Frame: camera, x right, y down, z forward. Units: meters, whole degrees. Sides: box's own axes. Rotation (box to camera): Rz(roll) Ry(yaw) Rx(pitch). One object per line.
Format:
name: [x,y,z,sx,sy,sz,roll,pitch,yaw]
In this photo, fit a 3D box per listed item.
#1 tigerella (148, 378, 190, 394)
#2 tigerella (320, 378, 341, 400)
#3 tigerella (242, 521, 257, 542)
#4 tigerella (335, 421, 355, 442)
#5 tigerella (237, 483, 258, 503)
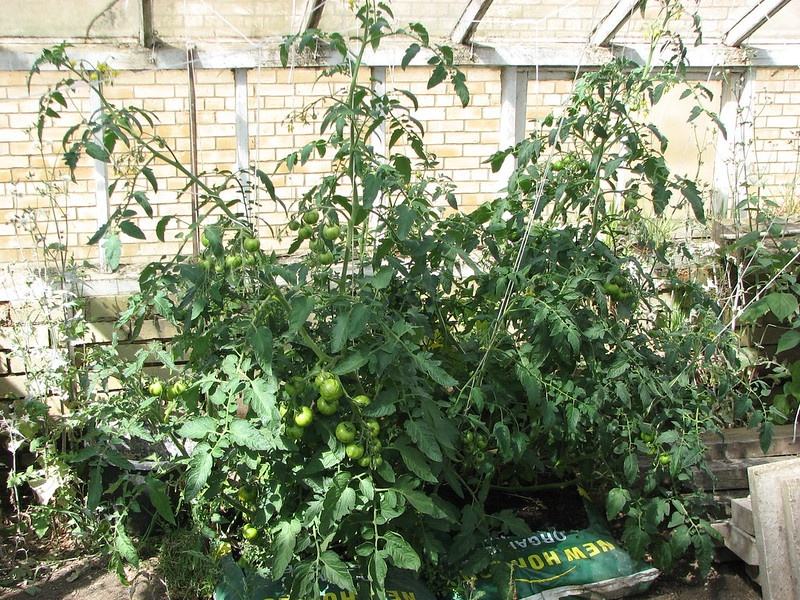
tigerella: [-0.821,0.302,2.205,0.153,0.068,0.056,0,-6,11]
tigerella: [-0.211,0.279,1.927,0.070,0.055,0.047,-5,2,-7]
tigerella: [-0.585,0.908,2.434,0.071,0.059,0.056,-4,2,7]
tigerella: [-0.170,0.422,1.966,0.062,0.058,0.064,-5,2,3]
tigerella: [-0.569,0.723,2.328,0.066,0.066,0.064,6,46,-6]
